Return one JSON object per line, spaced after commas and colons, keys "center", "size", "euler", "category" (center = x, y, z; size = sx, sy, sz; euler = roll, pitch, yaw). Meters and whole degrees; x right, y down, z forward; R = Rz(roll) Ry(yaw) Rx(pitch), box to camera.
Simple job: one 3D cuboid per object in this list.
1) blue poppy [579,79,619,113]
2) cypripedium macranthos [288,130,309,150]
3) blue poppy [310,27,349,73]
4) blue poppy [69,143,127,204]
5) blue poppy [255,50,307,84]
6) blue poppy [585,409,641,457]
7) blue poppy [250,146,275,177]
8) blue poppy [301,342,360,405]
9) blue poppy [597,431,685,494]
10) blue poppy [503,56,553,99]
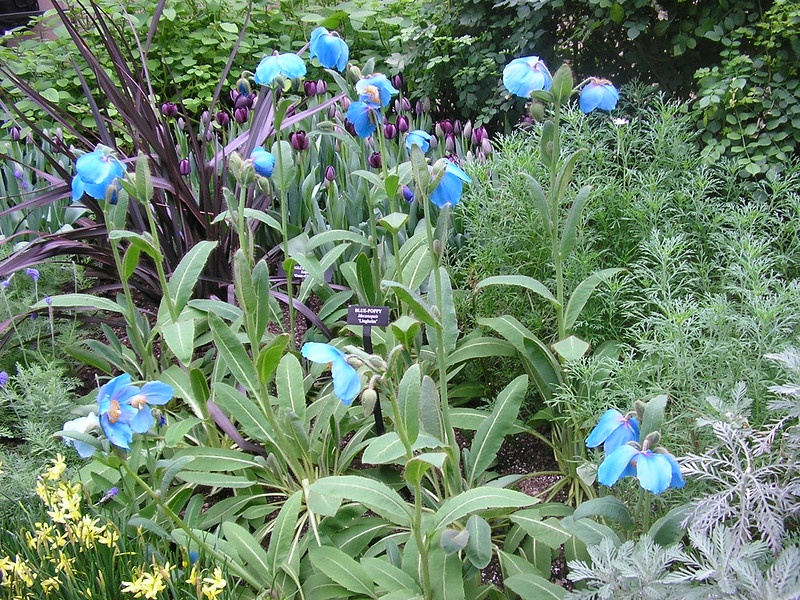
{"center": [0.766, -0.783, 2.749], "size": [0.130, 0.159, 0.071], "euler": [-6, -2, -9], "category": "blue poppy"}
{"center": [-0.544, -0.888, 3.927], "size": [0.108, 0.150, 0.110], "euler": [11, 16, 39], "category": "cypripedium macranthos"}
{"center": [-0.307, -1.057, 2.983], "size": [0.145, 0.199, 0.193], "euler": [-11, 28, -12], "category": "blue poppy"}
{"center": [-1.155, -0.488, 2.792], "size": [0.178, 0.180, 0.187], "euler": [36, 15, 13], "category": "blue poppy"}
{"center": [-0.477, -0.939, 2.897], "size": [0.160, 0.094, 0.174], "euler": [-12, 9, 13], "category": "blue poppy"}
{"center": [0.699, 0.430, 2.339], "size": [0.146, 0.140, 0.161], "euler": [7, 51, 37], "category": "blue poppy"}
{"center": [-0.585, -0.574, 3.020], "size": [0.082, 0.162, 0.208], "euler": [-9, 28, -9], "category": "blue poppy"}
{"center": [-0.223, 0.250, 2.173], "size": [0.058, 0.176, 0.198], "euler": [-31, 39, 27], "category": "blue poppy"}
{"center": [0.763, 0.511, 2.240], "size": [0.296, 0.193, 0.293], "euler": [8, -6, -28], "category": "blue poppy"}
{"center": [0.504, -0.861, 2.756], "size": [0.179, 0.167, 0.206], "euler": [2, 29, 13], "category": "blue poppy"}
